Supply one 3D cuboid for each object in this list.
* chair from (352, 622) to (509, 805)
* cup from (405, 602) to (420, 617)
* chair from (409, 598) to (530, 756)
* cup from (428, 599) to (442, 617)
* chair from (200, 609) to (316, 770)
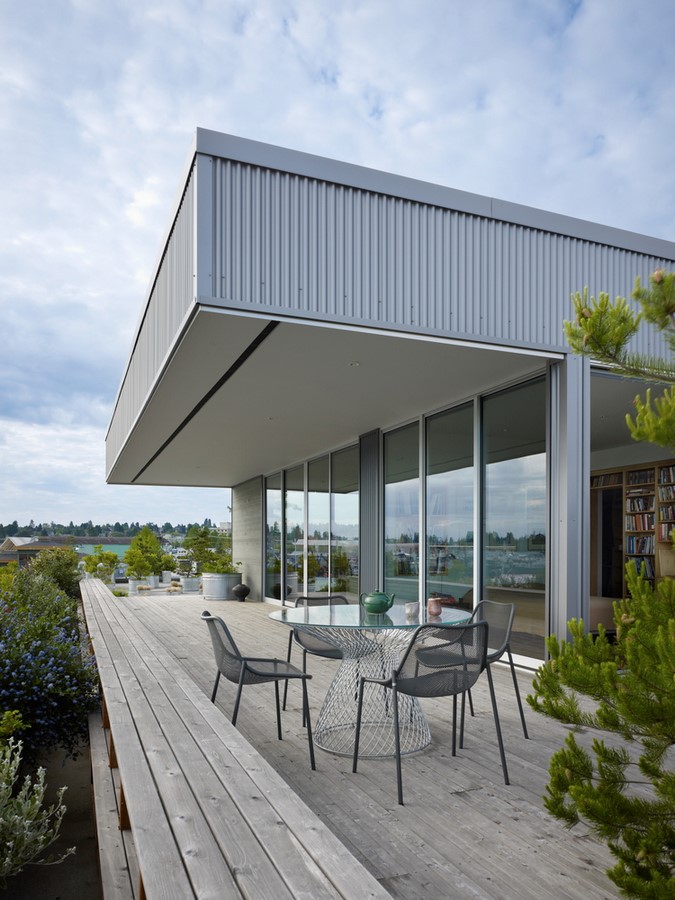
[{"bbox_3d":[0.521,1.410,3.282,0.625,1.199,0.759,0,0,-8],"label":"chair"},{"bbox_3d":[0.477,1.020,3.724,0.065,0.066,0.067,-1,-10,0],"label":"cup"},{"bbox_3d":[0.749,1.410,3.567,0.336,0.718,0.380,-3,-1,-16],"label":"chair"},{"bbox_3d":[0.630,1.013,3.758,0.091,0.161,0.106,-2,-5,11],"label":"cup"},{"bbox_3d":[-0.473,1.322,3.411,0.583,0.960,0.681,-2,6,-2],"label":"chair"}]
